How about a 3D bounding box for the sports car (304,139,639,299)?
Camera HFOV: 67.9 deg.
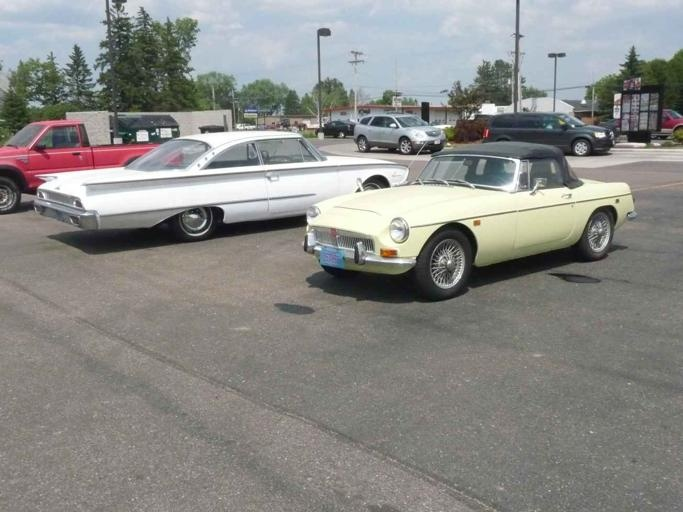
[{"bbox_3d":[1.824,-0.622,7.173,4.575,1.846,1.485,-9,16,-30],"label":"sports car"}]
